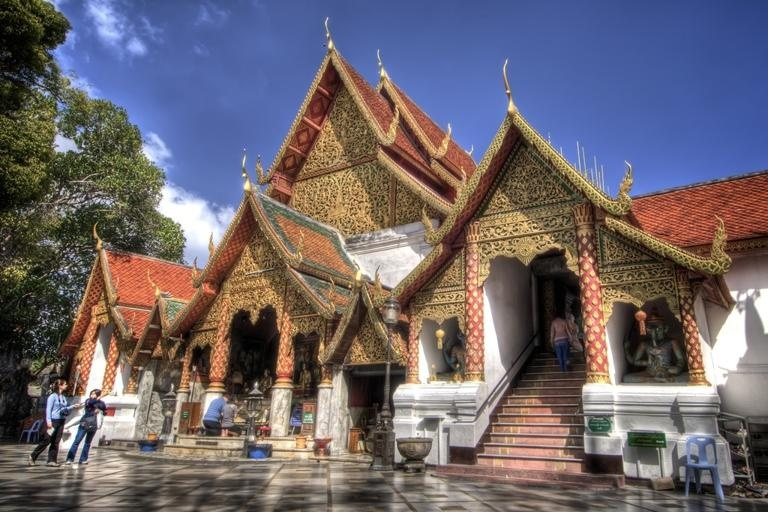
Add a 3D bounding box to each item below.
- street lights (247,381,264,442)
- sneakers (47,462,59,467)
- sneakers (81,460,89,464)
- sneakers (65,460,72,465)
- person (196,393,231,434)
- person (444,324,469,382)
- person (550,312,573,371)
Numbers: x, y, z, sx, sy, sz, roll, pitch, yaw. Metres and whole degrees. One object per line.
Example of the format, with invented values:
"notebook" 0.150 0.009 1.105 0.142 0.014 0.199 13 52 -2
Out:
"street lights" -3.273 3.839 12.427 0.355 1.452 0.564 10 -24 -15
"sneakers" -6.684 4.192 10.059 0.255 0.120 0.090 -3 -16 11
"sneakers" -6.357 4.363 10.564 0.206 0.089 0.066 3 -23 4
"sneakers" -6.498 4.236 10.246 0.060 0.062 0.146 4 -36 -13
"person" -4.479 4.235 13.162 0.529 0.908 0.377 8 -24 -10
"person" 1.677 2.238 11.809 0.583 1.224 0.554 4 1 -1
"person" 4.360 2.152 12.158 0.434 1.371 1.249 -6 -26 20
